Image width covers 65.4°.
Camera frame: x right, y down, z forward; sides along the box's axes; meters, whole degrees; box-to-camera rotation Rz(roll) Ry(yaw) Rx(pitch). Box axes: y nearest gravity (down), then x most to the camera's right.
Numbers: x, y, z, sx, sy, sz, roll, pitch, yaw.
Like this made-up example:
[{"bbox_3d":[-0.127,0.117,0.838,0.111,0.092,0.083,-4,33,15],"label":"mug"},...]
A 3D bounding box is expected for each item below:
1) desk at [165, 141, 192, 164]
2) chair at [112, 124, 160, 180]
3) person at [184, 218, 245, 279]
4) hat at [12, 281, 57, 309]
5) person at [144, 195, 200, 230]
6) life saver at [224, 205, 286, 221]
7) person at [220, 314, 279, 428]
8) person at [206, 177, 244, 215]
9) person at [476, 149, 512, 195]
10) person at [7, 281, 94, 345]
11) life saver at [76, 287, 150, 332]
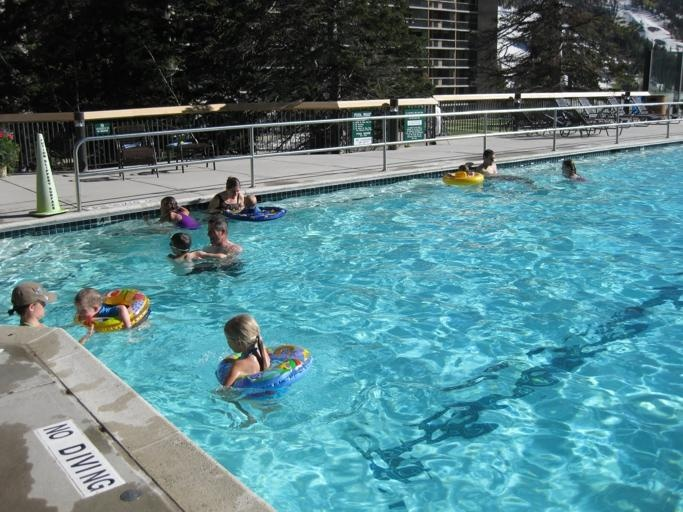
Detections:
[{"bbox_3d":[-4.638,-3.023,15.176,0.649,0.590,3.305,-9,11,-16],"label":"desk"},{"bbox_3d":[-5.571,-2.910,14.374,1.046,1.140,1.091,-17,36,-29],"label":"chair"},{"bbox_3d":[-1.998,-0.136,8.003,1.038,0.805,0.875,2,4,-3],"label":"person"},{"bbox_3d":[-2.984,0.388,5.273,0.428,0.161,0.283,-4,17,-37],"label":"hat"},{"bbox_3d":[-2.922,-0.784,9.479,0.958,0.415,0.592,19,29,10],"label":"person"},{"bbox_3d":[-1.623,-0.788,9.928,1.104,0.258,0.572,-5,11,-10],"label":"life saver"},{"bbox_3d":[-0.869,0.827,4.712,0.501,0.640,0.326,-10,14,-16],"label":"person"},{"bbox_3d":[-2.201,-1.148,10.191,0.842,0.615,0.461,-10,32,-38],"label":"person"},{"bbox_3d":[3.674,-2.190,12.918,0.720,0.798,0.958,-2,12,17],"label":"person"},{"bbox_3d":[-3.028,0.608,5.539,0.461,0.774,0.322,-30,55,-32],"label":"person"},{"bbox_3d":[-2.517,0.590,6.016,0.757,0.168,0.630,-21,39,0],"label":"life saver"}]
